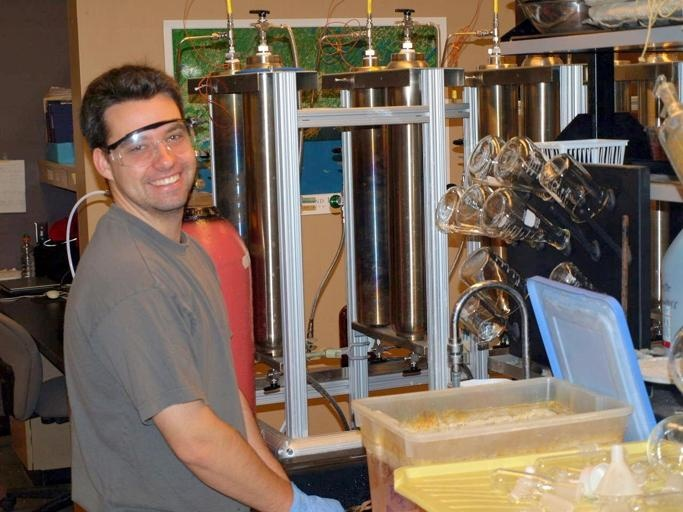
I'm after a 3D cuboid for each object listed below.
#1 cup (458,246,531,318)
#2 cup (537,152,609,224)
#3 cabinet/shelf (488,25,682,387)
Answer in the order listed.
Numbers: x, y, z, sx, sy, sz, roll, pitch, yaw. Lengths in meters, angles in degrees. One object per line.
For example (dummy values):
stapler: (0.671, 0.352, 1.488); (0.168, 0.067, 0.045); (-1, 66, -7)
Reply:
cup: (0.480, 0.093, 2.373); (0.178, 0.245, 0.189); (-5, 11, 1)
cup: (0.629, -0.178, 2.007); (0.187, 0.191, 0.085); (-2, 11, 17)
cabinet/shelf: (0.882, -0.227, 2.544); (0.644, 1.042, 1.004); (-2, 6, 2)
